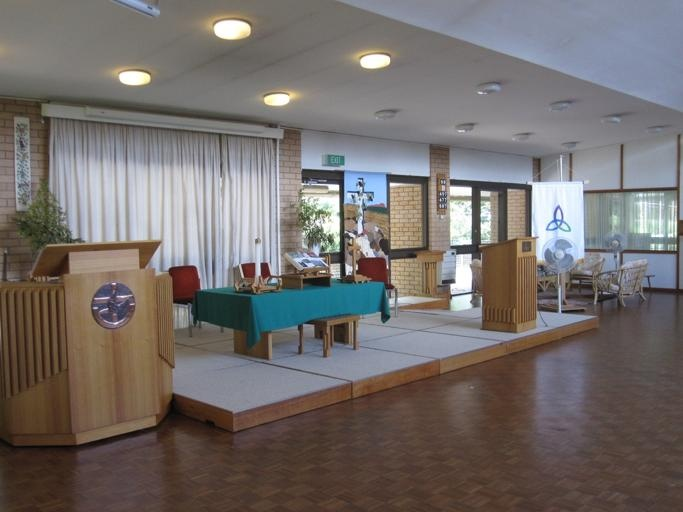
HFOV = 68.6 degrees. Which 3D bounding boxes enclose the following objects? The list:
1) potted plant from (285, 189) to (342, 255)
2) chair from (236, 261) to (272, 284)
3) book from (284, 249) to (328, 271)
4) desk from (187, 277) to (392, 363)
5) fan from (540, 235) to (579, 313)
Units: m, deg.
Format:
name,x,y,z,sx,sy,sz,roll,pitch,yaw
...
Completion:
name,x,y,z,sx,sy,sz,roll,pitch,yaw
potted plant,-0.450,-0.671,9.211,0.672,1.293,1.110,2,7,20
chair,-1.375,0.267,7.907,0.395,0.528,0.453,1,-6,-24
book,-0.447,0.046,5.862,0.320,0.073,0.299,-2,29,-42
desk,-0.488,0.594,5.715,2.094,0.506,0.985,-3,7,-21
fan,3.311,0.288,7.642,0.508,1.259,0.459,-2,15,13
